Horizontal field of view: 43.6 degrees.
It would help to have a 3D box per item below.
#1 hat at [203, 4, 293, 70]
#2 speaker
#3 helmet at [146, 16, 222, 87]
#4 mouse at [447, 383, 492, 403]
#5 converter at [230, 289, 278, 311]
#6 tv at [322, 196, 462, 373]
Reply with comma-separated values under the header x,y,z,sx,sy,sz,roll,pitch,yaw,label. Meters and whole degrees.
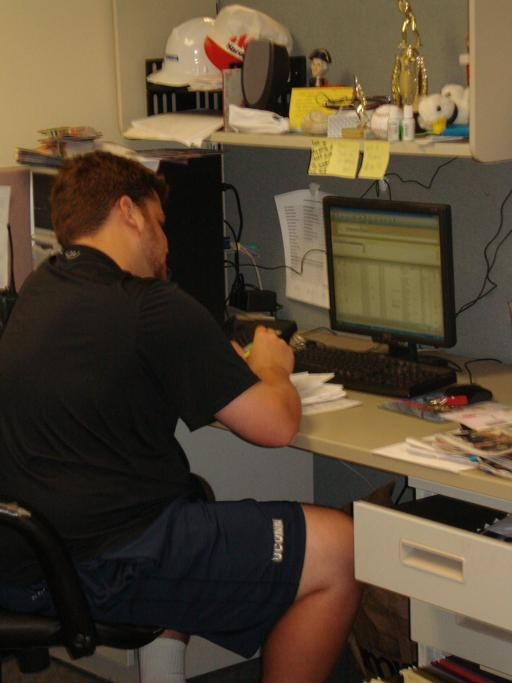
x,y,z,sx,sy,sz,roll,pitch,yaw,label
-0.025,-0.733,1.597,0.167,0.158,0.212,-22,28,-27,hat
0.020,-0.599,1.459,0.110,0.159,0.097,-1,4,-1,speaker
-0.174,-0.724,1.594,0.218,0.115,0.151,-20,34,-34,helmet
0.371,0.087,1.130,0.054,0.017,0.038,-3,8,-39,mouse
-0.007,-0.115,1.808,0.074,0.045,0.094,1,7,-18,converter
0.285,-0.122,1.332,0.117,0.351,0.334,-25,26,-39,tv
